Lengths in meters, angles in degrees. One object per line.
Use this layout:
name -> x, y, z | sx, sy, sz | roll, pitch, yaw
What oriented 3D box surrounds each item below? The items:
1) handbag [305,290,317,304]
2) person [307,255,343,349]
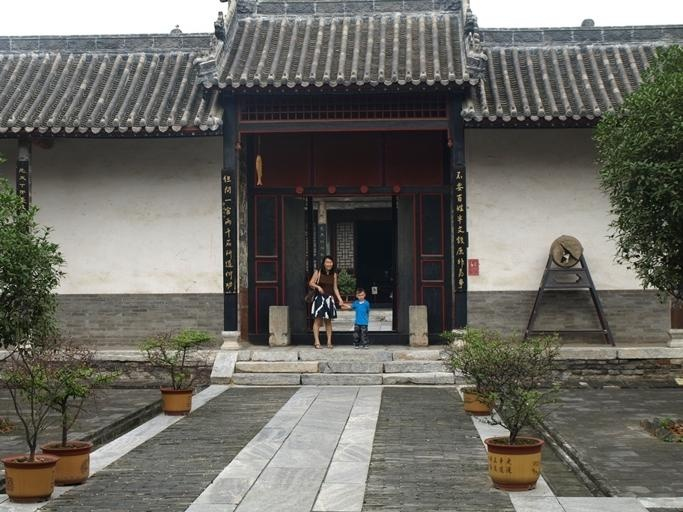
handbag -> -0.550, 0.696, 13.897 | 0.272, 0.251, 0.167 | 0, 6, 11
person -> -0.272, 0.776, 13.700 | 0.521, 1.540, 0.722 | -1, 3, -3
